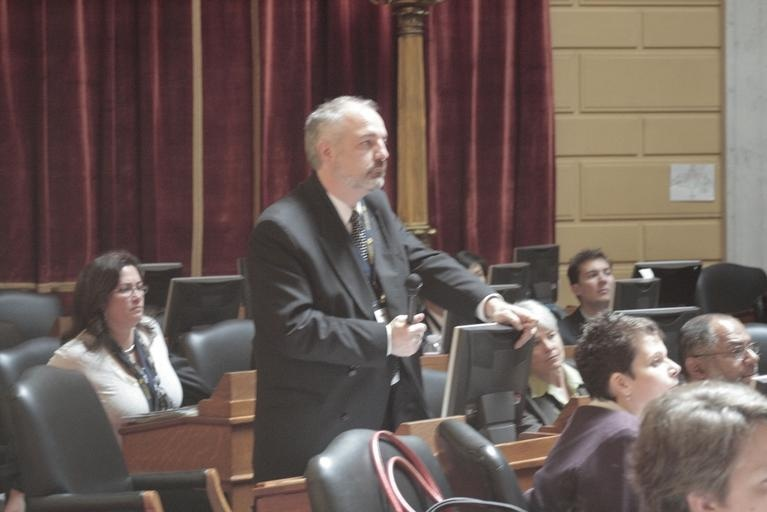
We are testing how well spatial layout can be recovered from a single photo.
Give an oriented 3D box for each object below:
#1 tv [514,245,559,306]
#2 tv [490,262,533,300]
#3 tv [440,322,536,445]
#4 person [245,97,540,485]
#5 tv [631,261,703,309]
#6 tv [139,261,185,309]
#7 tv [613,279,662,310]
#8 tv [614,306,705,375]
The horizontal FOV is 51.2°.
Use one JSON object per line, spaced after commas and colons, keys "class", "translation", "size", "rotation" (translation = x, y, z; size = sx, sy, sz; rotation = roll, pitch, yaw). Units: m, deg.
{"class": "tv", "translation": [1.083, 0.143, 5.584], "size": [0.454, 0.439, 0.144], "rotation": [-3, 7, -30]}
{"class": "tv", "translation": [0.829, 0.149, 5.220], "size": [0.263, 0.238, 0.344], "rotation": [3, 2, 4]}
{"class": "tv", "translation": [0.454, 0.555, 3.237], "size": [0.397, 0.542, 0.297], "rotation": [1, 5, -27]}
{"class": "person", "translation": [0.024, 0.385, 3.418], "size": [1.165, 1.994, 0.769], "rotation": [1, 15, -3]}
{"class": "tv", "translation": [1.884, 0.146, 5.205], "size": [0.342, 0.433, 0.366], "rotation": [-1, 6, -6]}
{"class": "tv", "translation": [-1.301, 0.179, 4.657], "size": [0.166, 0.306, 0.226], "rotation": [13, 14, 30]}
{"class": "tv", "translation": [1.441, 0.228, 4.472], "size": [0.277, 0.197, 0.043], "rotation": [-5, 14, -21]}
{"class": "tv", "translation": [1.154, 0.362, 3.340], "size": [0.319, 0.305, 0.043], "rotation": [-1, 0, -11]}
